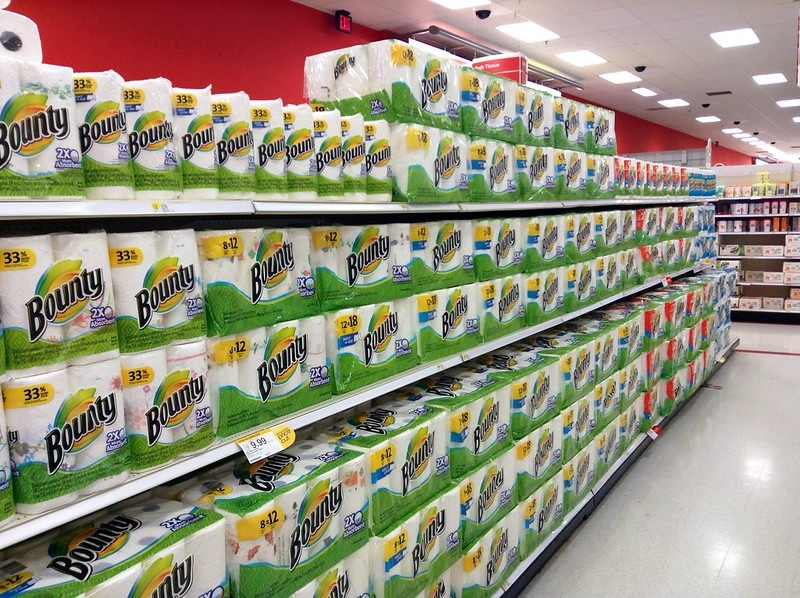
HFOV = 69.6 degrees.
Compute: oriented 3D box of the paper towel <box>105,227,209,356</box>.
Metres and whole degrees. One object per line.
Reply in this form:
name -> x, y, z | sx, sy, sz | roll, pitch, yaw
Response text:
paper towel -> -0.694, -0.027, 1.608 | 0.249, 0.320, 0.195 | -9, 13, -33
